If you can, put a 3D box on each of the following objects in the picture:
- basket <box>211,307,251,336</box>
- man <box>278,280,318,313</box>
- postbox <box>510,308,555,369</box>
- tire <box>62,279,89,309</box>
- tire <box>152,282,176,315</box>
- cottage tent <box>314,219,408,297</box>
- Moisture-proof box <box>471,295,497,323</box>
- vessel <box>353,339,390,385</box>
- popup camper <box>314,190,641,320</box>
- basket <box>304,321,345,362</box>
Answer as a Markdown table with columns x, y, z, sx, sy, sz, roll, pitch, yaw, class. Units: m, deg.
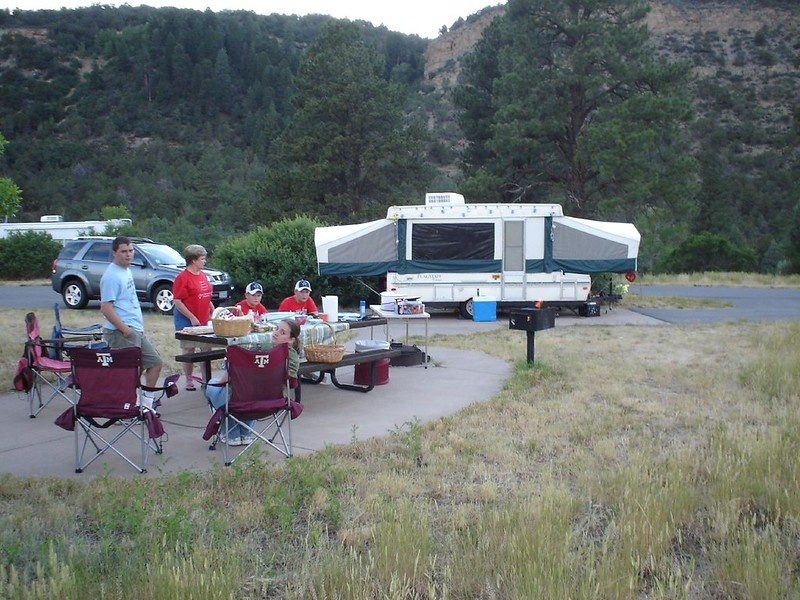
| x | y | z | sx | sy | sz | roll | pitch | yaw | class |
| --- | --- | --- | --- | --- | --- | --- | --- | --- | --- |
| -2.328 | 0.312 | 12.876 | 0.422 | 0.354 | 0.378 | 0 | 0 | 27 | basket |
| -1.597 | 0.016 | 14.689 | 0.536 | 0.933 | 0.468 | -2 | 5 | -26 | man |
| 2.200 | 0.709 | 15.462 | 0.718 | 1.196 | 0.672 | -5 | 8 | -29 | postbox |
| -7.949 | -0.164 | 22.821 | 0.541 | 0.687 | 0.216 | -3 | -3 | 18 | tire |
| -5.311 | -0.064 | 20.953 | 0.478 | 0.579 | 0.183 | 20 | 12 | 17 | tire |
| -0.994 | -1.215 | 21.974 | 1.919 | 1.328 | 0.451 | -1 | 12 | -3 | cottage tent |
| 1.999 | 0.215 | 21.856 | 0.483 | 0.599 | 0.539 | 0 | -1 | -8 | Moisture-proof box |
| -0.430 | 0.967 | 14.631 | 0.553 | 0.752 | 0.620 | 0 | -2 | -5 | vessel |
| 1.925 | -0.645 | 22.916 | 7.484 | 3.274 | 2.971 | 0 | -11 | 7 | popup camper |
| -1.075 | 0.611 | 13.608 | 0.594 | 0.654 | 0.475 | -1 | -6 | 16 | basket |
